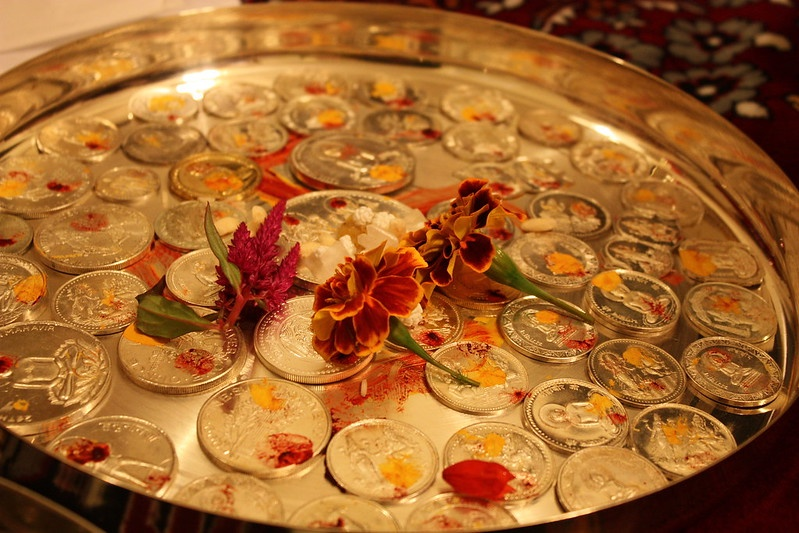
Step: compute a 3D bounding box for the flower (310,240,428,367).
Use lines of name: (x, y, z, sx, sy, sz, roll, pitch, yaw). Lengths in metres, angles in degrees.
flower: (-0.063, 0.039, 1.383, 0.266, 0.114, 0.261, -33, 19, 14)

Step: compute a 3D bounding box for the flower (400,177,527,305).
flower: (0.105, -0.063, 1.429, 0.216, 0.178, 0.103, -26, -11, -9)
